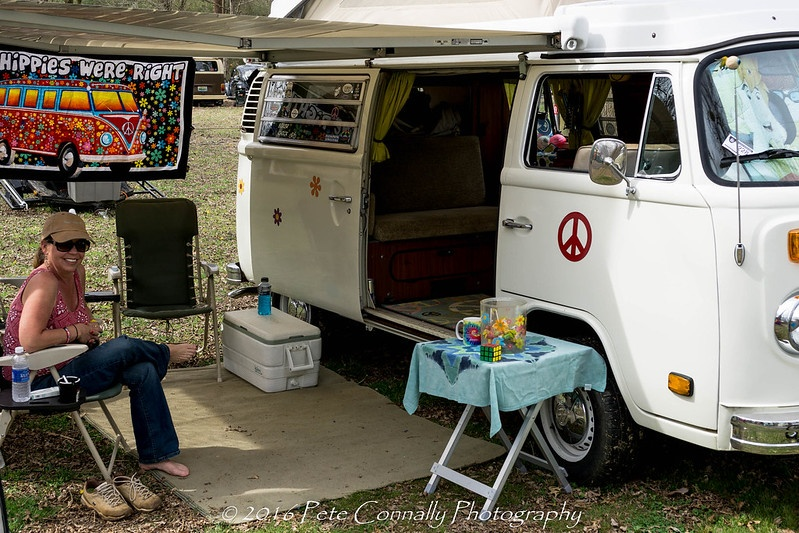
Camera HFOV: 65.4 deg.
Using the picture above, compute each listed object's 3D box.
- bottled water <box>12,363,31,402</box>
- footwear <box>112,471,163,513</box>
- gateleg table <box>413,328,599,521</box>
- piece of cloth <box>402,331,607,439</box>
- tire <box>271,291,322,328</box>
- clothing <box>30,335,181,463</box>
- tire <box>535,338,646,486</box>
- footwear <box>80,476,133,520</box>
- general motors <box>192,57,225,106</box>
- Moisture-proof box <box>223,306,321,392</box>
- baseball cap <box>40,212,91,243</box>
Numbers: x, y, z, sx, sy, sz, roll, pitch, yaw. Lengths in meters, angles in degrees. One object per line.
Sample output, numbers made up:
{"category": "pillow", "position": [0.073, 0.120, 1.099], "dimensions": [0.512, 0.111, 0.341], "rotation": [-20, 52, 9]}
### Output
{"category": "bottled water", "position": [-2.340, 0.717, 3.832], "dimensions": [0.139, 0.234, 0.068], "rotation": [2, 13, 9]}
{"category": "footwear", "position": [-1.863, 1.572, 4.444], "dimensions": [0.406, 0.175, 0.172], "rotation": [20, 22, 26]}
{"category": "gateleg table", "position": [0.719, 1.082, 4.620], "dimensions": [1.229, 1.142, 1.182], "rotation": [-5, 10, -36]}
{"category": "piece of cloth", "position": [0.644, 0.725, 4.345], "dimensions": [0.850, 0.456, 0.929], "rotation": [6, 9, 40]}
{"category": "tire", "position": [-1.197, 0.561, 7.236], "dimensions": [0.433, 0.110, 0.456], "rotation": [15, 2, -38]}
{"category": "clothing", "position": [-2.153, 0.907, 4.822], "dimensions": [0.877, 0.913, 0.944], "rotation": [1, 2, -3]}
{"category": "tire", "position": [1.387, 1.022, 4.440], "dimensions": [0.327, 0.946, 0.846], "rotation": [-5, 25, -38]}
{"category": "footwear", "position": [-2.015, 1.592, 4.334], "dimensions": [0.445, 0.183, 0.181], "rotation": [15, 17, 33]}
{"category": "general motors", "position": [-9.493, -9.174, 31.041], "dimensions": [1.455, 2.134, 2.043], "rotation": [-4, 14, -17]}
{"category": "Moisture-proof box", "position": [-1.346, 0.852, 6.454], "dimensions": [0.593, 0.513, 1.039], "rotation": [-4, 14, -36]}
{"category": "baseball cap", "position": [-2.428, -0.273, 4.510], "dimensions": [0.297, 0.151, 0.214], "rotation": [-2, -3, 42]}
